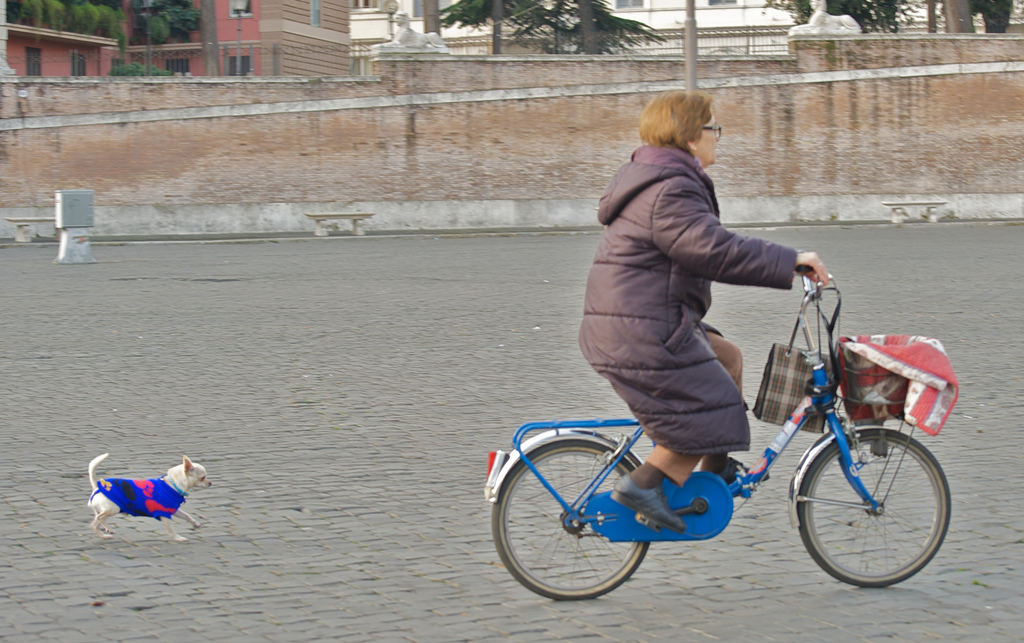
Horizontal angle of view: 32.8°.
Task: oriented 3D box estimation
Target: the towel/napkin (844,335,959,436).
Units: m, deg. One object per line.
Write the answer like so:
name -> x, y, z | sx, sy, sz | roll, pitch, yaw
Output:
towel/napkin -> 3.472, 0.566, 15.634 | 1.035, 0.808, 0.231 | 0, 11, 7

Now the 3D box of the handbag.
handbag -> 2.911, 0.357, 16.013 | 0.824, 1.297, 1.074 | 1, 1, 11

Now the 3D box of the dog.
dog -> -3.408, 1.648, 16.439 | 1.146, 0.798, 0.565 | -3, 10, -9
